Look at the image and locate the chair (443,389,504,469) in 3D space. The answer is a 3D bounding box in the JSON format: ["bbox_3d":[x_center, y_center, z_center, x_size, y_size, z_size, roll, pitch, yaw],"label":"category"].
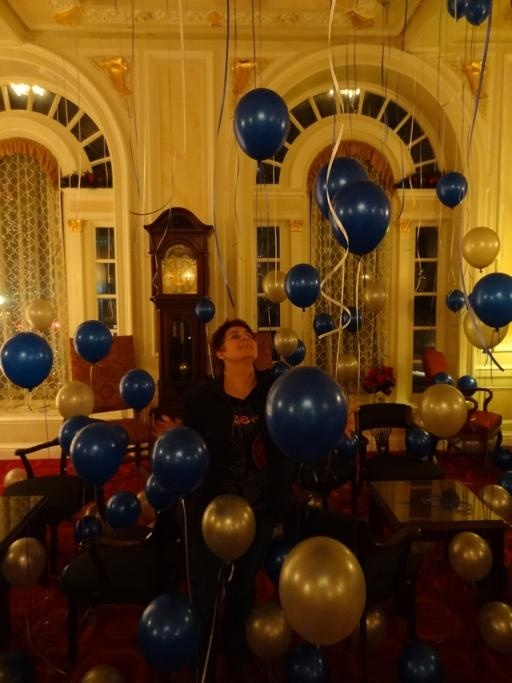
[{"bbox_3d":[1.778,0.664,4.654,0.400,0.639,0.925,3,8,20],"label":"chair"}]

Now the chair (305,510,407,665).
[{"bbox_3d":[0.346,0.752,1.951,0.379,0.371,0.172,1,7,5],"label":"chair"}]

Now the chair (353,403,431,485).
[{"bbox_3d":[0.813,0.629,3.501,0.411,0.623,0.516,0,-9,0],"label":"chair"}]
